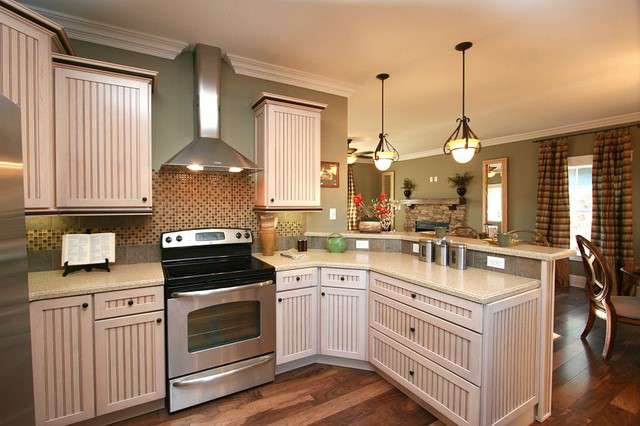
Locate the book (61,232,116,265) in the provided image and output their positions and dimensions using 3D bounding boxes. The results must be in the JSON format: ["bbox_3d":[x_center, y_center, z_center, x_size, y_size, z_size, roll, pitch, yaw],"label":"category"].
[{"bbox_3d":[-2.261,0.346,4.493,0.505,0.302,0.154,1,-6,-32],"label":"book"}]

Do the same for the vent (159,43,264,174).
[{"bbox_3d":[-1.274,-1.165,5.117,1.029,1.288,1.036,-2,8,-33],"label":"vent"}]

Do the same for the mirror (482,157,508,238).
[{"bbox_3d":[3.271,-0.349,8.620,0.265,1.399,0.805,-5,14,-17],"label":"mirror"}]

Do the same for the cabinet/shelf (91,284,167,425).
[{"bbox_3d":[-1.763,1.251,4.268,0.666,1.084,0.227,-5,14,-20],"label":"cabinet/shelf"}]

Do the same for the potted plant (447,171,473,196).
[{"bbox_3d":[2.833,-0.600,9.333,0.449,0.417,0.443,-3,1,13],"label":"potted plant"}]

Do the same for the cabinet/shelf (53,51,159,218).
[{"bbox_3d":[-2.055,-0.713,4.392,0.943,1.426,0.290,-5,14,-18],"label":"cabinet/shelf"}]

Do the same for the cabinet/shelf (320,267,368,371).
[{"bbox_3d":[0.246,1.053,4.889,0.521,0.927,0.300,1,14,5],"label":"cabinet/shelf"}]

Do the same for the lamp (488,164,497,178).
[{"bbox_3d":[3.244,-0.796,8.683,0.201,0.211,0.199,8,14,24],"label":"lamp"}]

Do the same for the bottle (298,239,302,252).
[{"bbox_3d":[-0.236,0.382,5.371,0.057,0.115,0.091,-2,13,-7],"label":"bottle"}]

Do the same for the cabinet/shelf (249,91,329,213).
[{"bbox_3d":[-0.321,-0.675,5.186,0.736,1.317,0.461,-1,13,-2],"label":"cabinet/shelf"}]

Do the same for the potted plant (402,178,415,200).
[{"bbox_3d":[2.032,-0.583,10.708,0.183,0.461,0.457,-3,13,-12],"label":"potted plant"}]

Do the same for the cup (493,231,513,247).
[{"bbox_3d":[1.854,0.265,4.684,0.161,0.114,0.129,2,-3,7],"label":"cup"}]

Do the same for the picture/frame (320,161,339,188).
[{"bbox_3d":[0.103,-0.508,5.882,0.403,0.350,0.031,0,2,-31],"label":"picture/frame"}]

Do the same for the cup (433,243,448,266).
[{"bbox_3d":[1.263,0.412,4.784,0.088,0.235,0.148,-5,14,-17],"label":"cup"}]

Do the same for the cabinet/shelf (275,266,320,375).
[{"bbox_3d":[-0.257,1.058,4.865,0.485,0.927,0.255,-4,14,-15],"label":"cabinet/shelf"}]

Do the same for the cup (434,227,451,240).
[{"bbox_3d":[1.351,0.219,5.050,0.177,0.132,0.146,4,-4,-9],"label":"cup"}]

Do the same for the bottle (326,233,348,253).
[{"bbox_3d":[0.184,0.357,5.425,0.198,0.212,0.186,-8,15,-29],"label":"bottle"}]

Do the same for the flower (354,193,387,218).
[{"bbox_3d":[0.621,-0.059,5.959,0.507,0.388,0.547,-1,-1,14],"label":"flower"}]

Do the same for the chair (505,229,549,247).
[{"bbox_3d":[2.904,0.336,6.393,0.239,0.306,0.262,6,-7,-42],"label":"chair"}]
